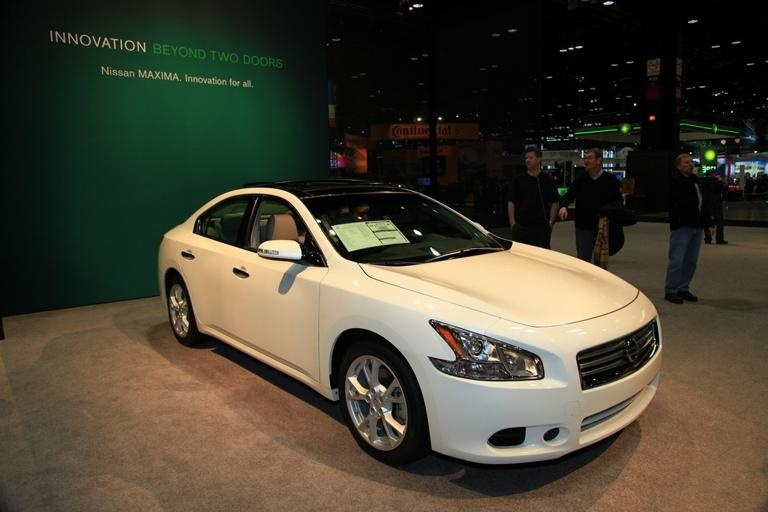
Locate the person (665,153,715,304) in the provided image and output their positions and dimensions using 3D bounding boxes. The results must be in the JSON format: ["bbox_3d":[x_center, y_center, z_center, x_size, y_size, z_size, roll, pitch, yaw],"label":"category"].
[{"bbox_3d":[4.397,-0.393,6.666,0.541,2.134,0.741,8,16,34],"label":"person"}]

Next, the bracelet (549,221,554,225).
[{"bbox_3d":[2.452,-0.461,6.733,0.070,0.067,0.071,-10,28,-4],"label":"bracelet"}]

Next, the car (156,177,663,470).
[{"bbox_3d":[-0.078,0.298,4.001,4.047,1.435,2.113,15,21,40],"label":"car"}]

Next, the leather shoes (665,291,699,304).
[{"bbox_3d":[4.334,0.630,6.705,0.429,0.194,0.190,-1,6,17],"label":"leather shoes"}]
